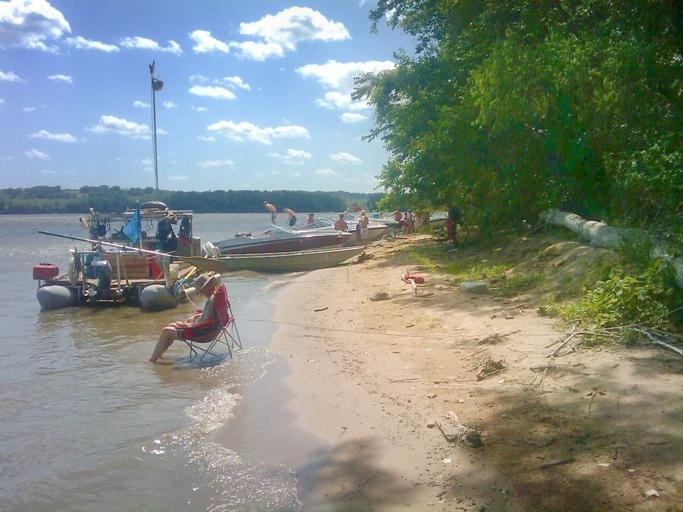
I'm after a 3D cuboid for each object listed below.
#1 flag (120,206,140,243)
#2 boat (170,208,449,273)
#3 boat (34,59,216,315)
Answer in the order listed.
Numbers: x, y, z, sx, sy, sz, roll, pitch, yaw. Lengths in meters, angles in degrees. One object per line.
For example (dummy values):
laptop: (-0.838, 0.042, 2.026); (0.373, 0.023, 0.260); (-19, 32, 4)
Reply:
flag: (-7.250, -1.078, 19.132); (0.123, 1.146, 1.026); (-11, 45, -48)
boat: (-2.946, -0.026, 27.948); (10.233, 2.942, 2.410); (-13, 8, -16)
boat: (-7.549, -2.405, 19.472); (5.000, 8.184, 4.836); (-1, 4, -17)
